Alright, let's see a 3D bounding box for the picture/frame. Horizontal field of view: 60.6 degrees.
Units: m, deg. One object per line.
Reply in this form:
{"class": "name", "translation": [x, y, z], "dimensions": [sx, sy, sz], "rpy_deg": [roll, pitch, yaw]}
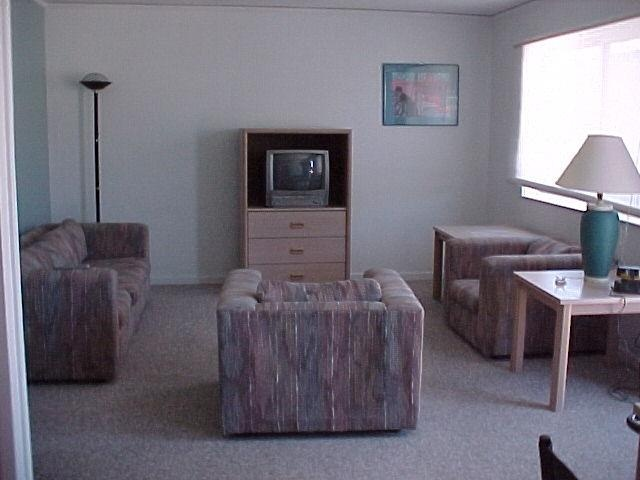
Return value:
{"class": "picture/frame", "translation": [1.080, -1.620, 6.024], "dimensions": [0.637, 0.491, 0.085], "rpy_deg": [0, 5, -6]}

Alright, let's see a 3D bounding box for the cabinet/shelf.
{"class": "cabinet/shelf", "translation": [-0.236, -0.218, 5.900], "dimensions": [1.059, 1.782, 0.550], "rpy_deg": [0, 9, -2]}

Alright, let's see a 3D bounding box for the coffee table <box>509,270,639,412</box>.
{"class": "coffee table", "translation": [1.707, 0.649, 3.794], "dimensions": [0.563, 0.803, 0.688], "rpy_deg": [-1, 11, -9]}

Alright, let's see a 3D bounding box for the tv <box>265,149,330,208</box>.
{"class": "tv", "translation": [-0.222, -0.547, 5.903], "dimensions": [0.754, 0.777, 0.538], "rpy_deg": [0, 1, -4]}

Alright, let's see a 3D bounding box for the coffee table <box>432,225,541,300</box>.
{"class": "coffee table", "translation": [1.487, -0.028, 5.169], "dimensions": [0.710, 0.735, 0.962], "rpy_deg": [-2, 12, -8]}

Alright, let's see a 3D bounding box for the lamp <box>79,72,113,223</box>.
{"class": "lamp", "translation": [-2.312, -0.896, 5.699], "dimensions": [0.296, 1.523, 0.308], "rpy_deg": [-2, 5, -31]}

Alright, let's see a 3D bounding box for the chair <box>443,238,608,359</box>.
{"class": "chair", "translation": [1.608, 0.500, 4.562], "dimensions": [0.851, 0.868, 1.203], "rpy_deg": [1, 5, -1]}

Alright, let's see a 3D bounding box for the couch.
{"class": "couch", "translation": [-1.996, 0.351, 4.642], "dimensions": [0.892, 0.744, 1.976], "rpy_deg": [0, 12, -11]}
